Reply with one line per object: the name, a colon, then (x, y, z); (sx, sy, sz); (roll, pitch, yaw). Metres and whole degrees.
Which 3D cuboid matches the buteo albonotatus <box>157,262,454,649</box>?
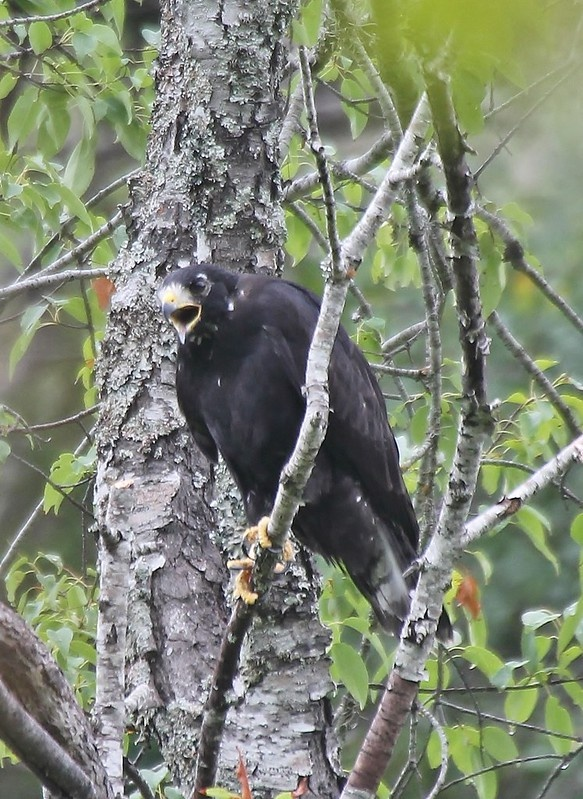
buteo albonotatus: (0.029, 0.104, 4.074); (0.851, 0.992, 0.465); (8, -21, -37)
